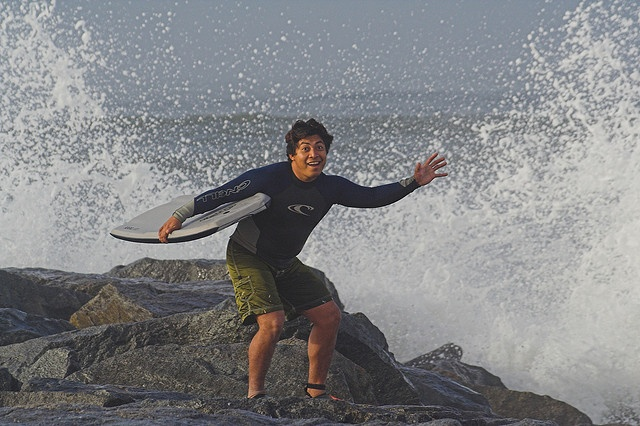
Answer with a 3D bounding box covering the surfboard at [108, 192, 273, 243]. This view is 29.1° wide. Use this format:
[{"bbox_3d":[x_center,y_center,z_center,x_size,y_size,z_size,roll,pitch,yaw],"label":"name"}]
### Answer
[{"bbox_3d":[-2.309,0.304,21.638,2.120,0.420,1.179,-8,14,-32],"label":"surfboard"}]
